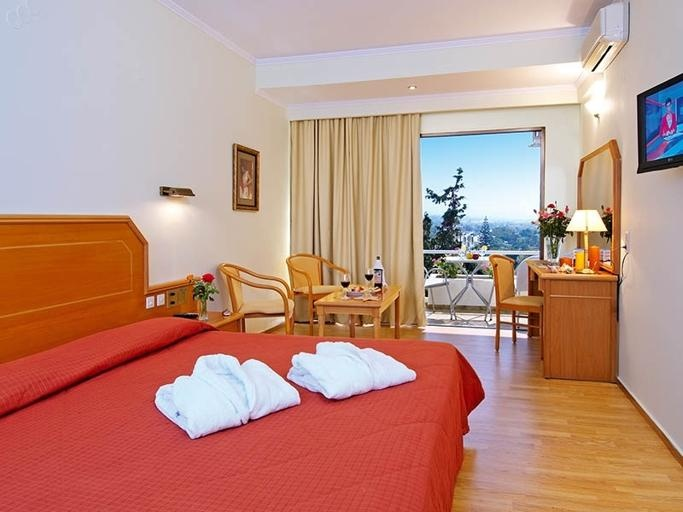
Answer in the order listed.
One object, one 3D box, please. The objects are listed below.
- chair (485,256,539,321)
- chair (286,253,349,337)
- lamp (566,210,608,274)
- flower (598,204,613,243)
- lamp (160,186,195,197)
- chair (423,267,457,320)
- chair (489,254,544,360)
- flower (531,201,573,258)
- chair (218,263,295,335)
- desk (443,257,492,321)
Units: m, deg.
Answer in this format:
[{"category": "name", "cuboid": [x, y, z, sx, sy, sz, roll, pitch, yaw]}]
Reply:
[{"category": "chair", "cuboid": [2.004, 0.437, 5.038, 0.606, 0.951, 0.566, -1, 2, 33]}, {"category": "chair", "cuboid": [-0.345, 0.487, 5.829, 0.624, 1.039, 0.738, 0, 2, 31]}, {"category": "lamp", "cuboid": [2.388, -0.133, 4.403, 0.319, 0.650, 0.337, 1, 5, 34]}, {"category": "flower", "cuboid": [2.476, -0.291, 4.209, 0.086, 0.334, 0.446, 6, 12, 25]}, {"category": "lamp", "cuboid": [-1.413, -0.565, 3.989, 0.170, 0.117, 0.399, 5, 12, 18]}, {"category": "chair", "cuboid": [1.478, 0.470, 6.996, 0.523, 0.888, 0.507, -10, 6, 29]}, {"category": "chair", "cuboid": [2.013, 0.506, 5.046, 0.601, 1.061, 0.624, -1, 2, 34]}, {"category": "flower", "cuboid": [2.435, -0.242, 5.183, 0.361, 0.638, 0.405, -1, -11, 34]}, {"category": "chair", "cuboid": [-0.886, 0.616, 4.886, 0.719, 1.067, 0.668, -2, 4, 1]}, {"category": "desk", "cuboid": [2.038, 0.528, 7.012, 0.764, 1.313, 0.852, 0, -5, 9]}]
